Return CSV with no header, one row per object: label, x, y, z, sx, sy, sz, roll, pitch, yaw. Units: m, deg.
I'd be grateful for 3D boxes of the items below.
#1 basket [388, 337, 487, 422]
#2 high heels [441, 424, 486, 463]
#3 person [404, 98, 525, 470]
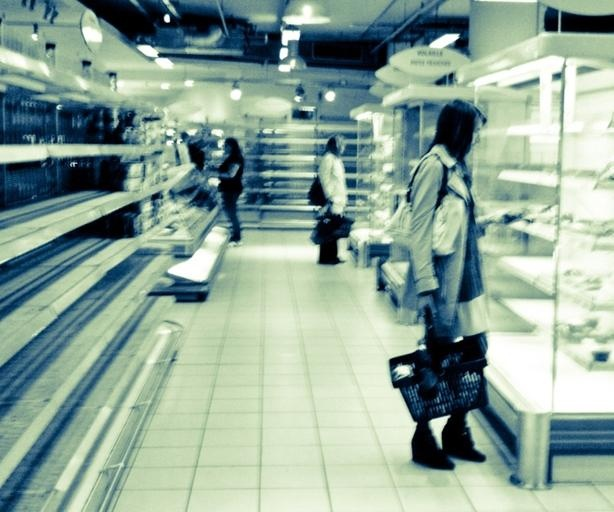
basket,0.692,0.643,3.320,0.538,0.319,0.348,-17,4,1
high heels,0.875,1.027,3.395,0.111,0.196,0.306,7,-15,-41
person,0.752,0.168,3.231,0.492,1.946,0.334,2,11,8
